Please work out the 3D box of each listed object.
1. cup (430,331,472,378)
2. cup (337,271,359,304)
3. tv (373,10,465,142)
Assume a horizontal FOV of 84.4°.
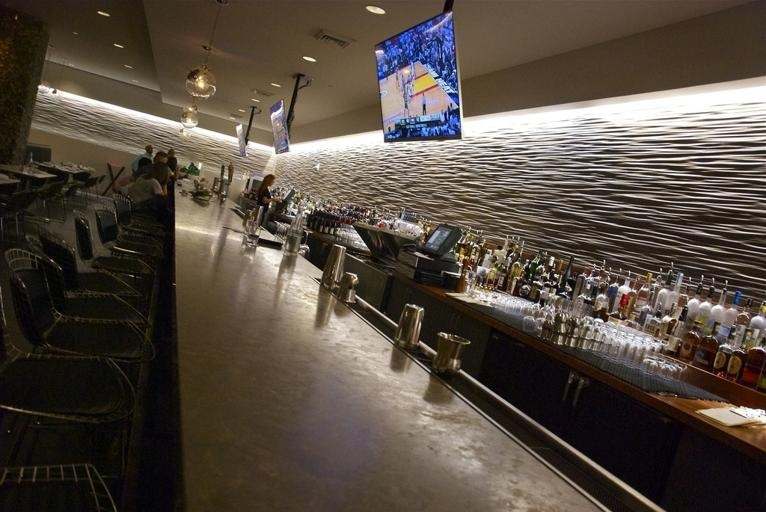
[{"bbox_3d":[0.252,0.381,1.715,0.160,0.165,0.163,8,3,0],"label":"cup"},{"bbox_3d":[-0.199,0.177,2.432,0.153,0.206,0.153,5,0,0],"label":"cup"},{"bbox_3d":[0.354,-1.806,4.169,0.156,1.258,1.497,-22,19,-27],"label":"tv"}]
